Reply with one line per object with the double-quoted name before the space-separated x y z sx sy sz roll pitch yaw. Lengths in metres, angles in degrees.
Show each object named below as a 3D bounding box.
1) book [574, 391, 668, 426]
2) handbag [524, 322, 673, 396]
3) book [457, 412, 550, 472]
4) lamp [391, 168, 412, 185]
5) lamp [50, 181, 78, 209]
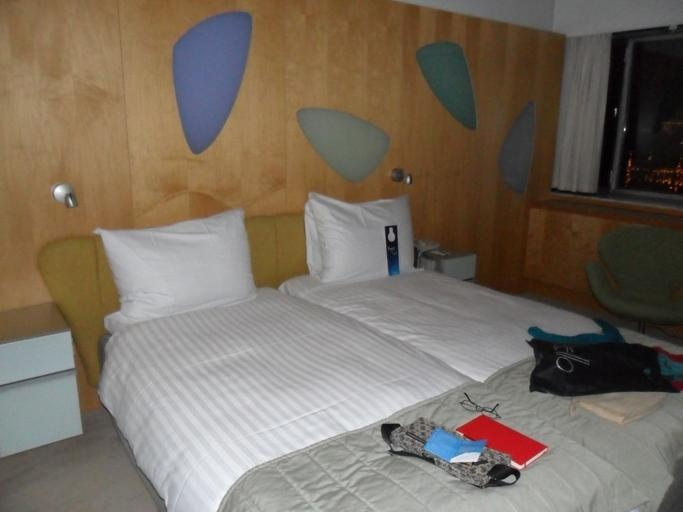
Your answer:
"book" 1.217 0.644 2.309 0.187 0.055 0.189 -8 10 -29
"handbag" 1.169 0.509 2.449 0.425 0.172 0.350 0 16 5
"book" 0.648 0.734 2.128 0.166 0.034 0.230 -15 29 -40
"lamp" 0.478 -0.632 4.203 0.159 0.097 0.077 11 -3 -26
"lamp" -1.569 -0.349 3.000 0.106 0.077 0.147 -35 80 -28
